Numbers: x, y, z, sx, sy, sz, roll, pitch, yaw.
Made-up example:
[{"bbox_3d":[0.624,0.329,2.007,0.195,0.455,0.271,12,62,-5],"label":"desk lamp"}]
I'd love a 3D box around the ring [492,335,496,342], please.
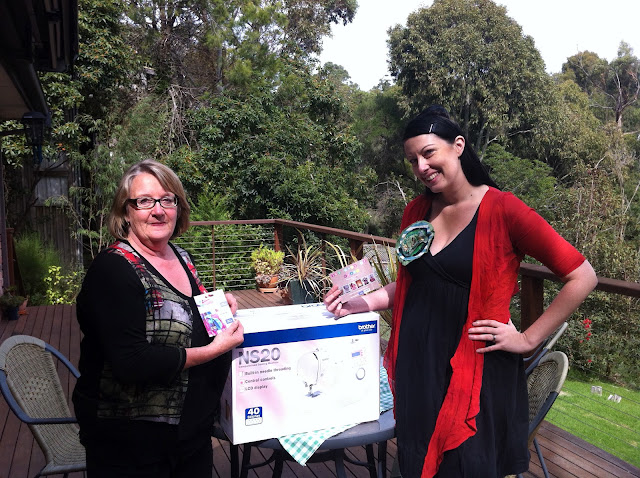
[{"bbox_3d":[0.596,0.340,1.621,0.013,0.017,0.015,-13,39,12],"label":"ring"}]

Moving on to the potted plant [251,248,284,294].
[{"bbox_3d":[-0.760,0.477,6.999,0.530,0.744,0.520,1,-5,-5],"label":"potted plant"}]

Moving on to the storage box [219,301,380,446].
[{"bbox_3d":[-0.136,0.383,1.958,0.655,0.426,0.471,-4,16,-17],"label":"storage box"}]

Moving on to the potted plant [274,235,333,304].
[{"bbox_3d":[-0.157,0.362,5.416,0.619,0.949,0.826,-4,-8,43],"label":"potted plant"}]
